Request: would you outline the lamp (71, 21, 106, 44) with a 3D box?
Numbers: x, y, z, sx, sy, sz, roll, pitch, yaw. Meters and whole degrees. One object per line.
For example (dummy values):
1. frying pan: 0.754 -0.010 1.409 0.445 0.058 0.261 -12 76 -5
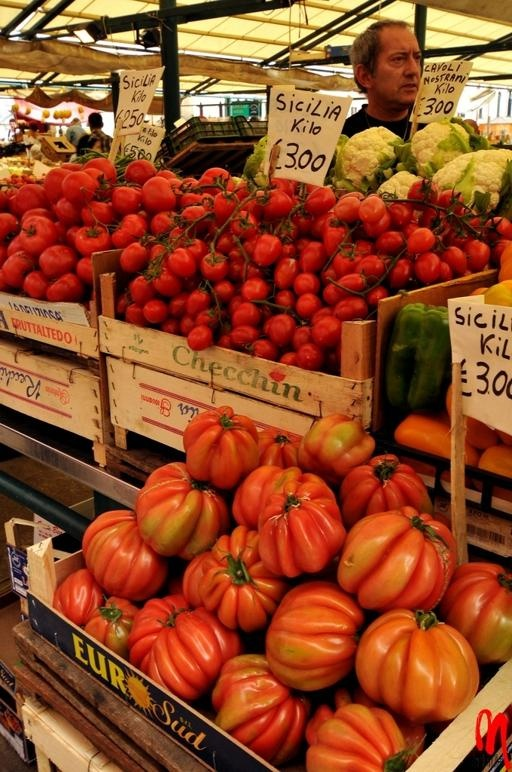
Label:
1. lamp: -3.386 -7.200 10.749 0.431 0.393 0.855 -15 29 -32
